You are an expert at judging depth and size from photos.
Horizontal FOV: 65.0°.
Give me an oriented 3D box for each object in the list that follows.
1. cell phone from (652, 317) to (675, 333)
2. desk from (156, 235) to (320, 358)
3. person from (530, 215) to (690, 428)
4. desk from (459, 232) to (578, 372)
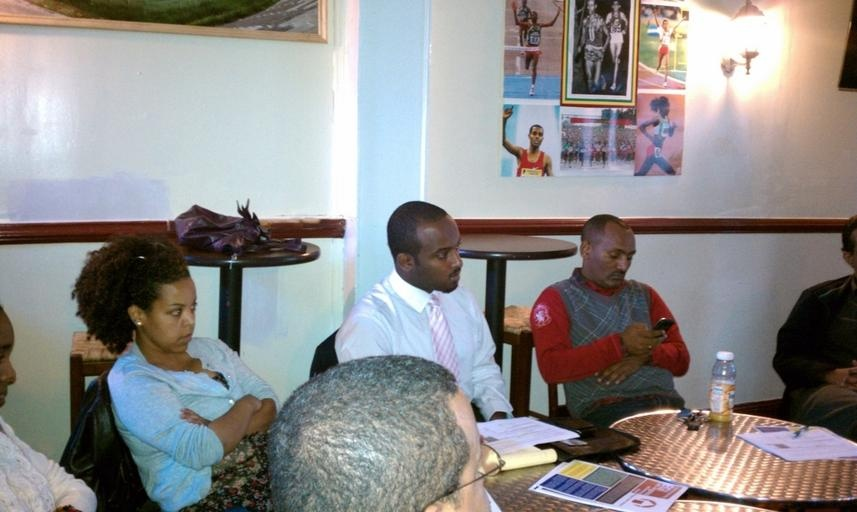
[{"bbox_3d":[1.395,0.401,4.003,0.109,0.106,0.024,15,31,-33],"label":"cell phone"},{"bbox_3d":[-1.159,0.141,4.347,0.737,0.786,0.706,9,16,15],"label":"desk"},{"bbox_3d":[1.104,0.364,4.118,0.951,1.182,0.571,-1,10,5],"label":"person"},{"bbox_3d":[0.496,0.303,4.736,0.904,0.956,0.878,-5,11,-38],"label":"desk"}]
